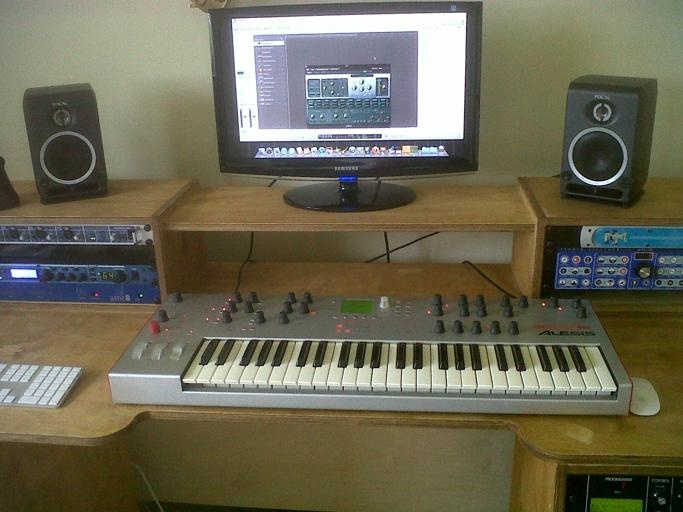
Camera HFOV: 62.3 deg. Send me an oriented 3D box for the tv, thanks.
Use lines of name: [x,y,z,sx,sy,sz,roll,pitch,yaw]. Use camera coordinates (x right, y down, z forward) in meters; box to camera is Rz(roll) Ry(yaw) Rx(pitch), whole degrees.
tv: [0.018,-0.436,1.599,0.669,0.461,0.210,0,27,3]

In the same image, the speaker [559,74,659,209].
speaker: [0.712,-0.312,1.514,0.212,0.332,0.174,6,21,25]
